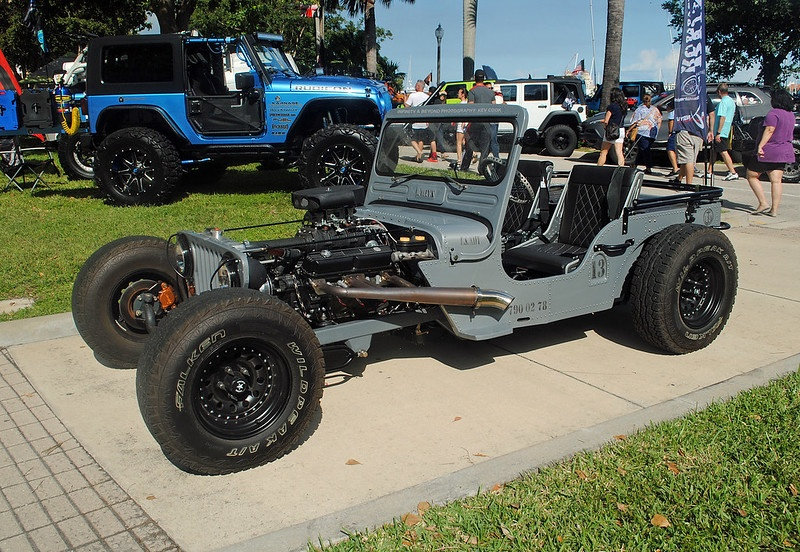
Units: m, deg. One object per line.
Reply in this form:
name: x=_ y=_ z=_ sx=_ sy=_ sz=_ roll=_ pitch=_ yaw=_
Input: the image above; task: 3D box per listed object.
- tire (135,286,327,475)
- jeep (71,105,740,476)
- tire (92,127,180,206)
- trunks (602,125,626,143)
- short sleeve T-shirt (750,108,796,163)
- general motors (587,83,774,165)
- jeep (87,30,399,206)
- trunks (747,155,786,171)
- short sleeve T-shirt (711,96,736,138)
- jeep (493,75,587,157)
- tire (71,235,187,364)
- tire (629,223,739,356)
tire: x=-1.164 y=0.780 z=4.204 sx=1.184 sy=1.207 sz=0.418 roll=3 pitch=6 yaw=-26
jeep: x=0.359 y=0.002 z=5.495 sx=5.566 sy=2.240 sz=3.061 roll=-6 pitch=10 yaw=-29
tire: x=-4.655 y=-1.889 z=10.583 sx=1.386 sy=1.423 sz=0.487 roll=1 pitch=7 yaw=4
trunks: x=4.925 y=-3.150 z=13.772 sx=0.410 sy=0.483 sz=0.454 roll=0 pitch=-6 yaw=17
short sleeve T-shirt: x=6.585 y=-2.412 z=10.471 sx=0.616 sy=0.908 sz=0.430 roll=11 pitch=22 yaw=27
general motors: x=7.421 y=-3.784 z=15.956 sx=4.796 sy=2.172 sz=2.271 roll=2 pitch=15 yaw=8
jeep: x=-3.323 y=-2.944 z=12.072 sx=5.485 sy=3.305 sz=3.166 roll=-3 pitch=11 yaw=-9
trunks: x=6.496 y=-1.931 z=10.631 sx=0.459 sy=0.190 sz=0.359 roll=1 pitch=15 yaw=19
short sleeve T-shirt: x=7.168 y=-3.535 z=13.341 sx=0.306 sy=0.805 sz=0.615 roll=14 pitch=26 yaw=33
jeep: x=3.659 y=-4.841 z=18.618 sx=4.093 sy=2.448 sz=2.370 roll=1 pitch=15 yaw=4
tire: x=-2.383 y=0.223 z=5.487 sx=1.152 sy=1.177 sz=0.409 roll=-12 pitch=28 yaw=-35
tire: x=2.739 y=0.135 z=5.740 sx=1.224 sy=1.256 sz=0.395 roll=-8 pitch=13 yaw=-28
